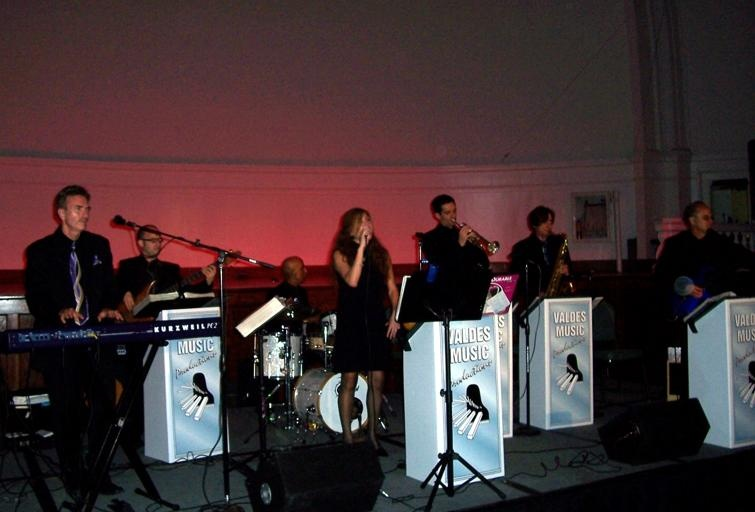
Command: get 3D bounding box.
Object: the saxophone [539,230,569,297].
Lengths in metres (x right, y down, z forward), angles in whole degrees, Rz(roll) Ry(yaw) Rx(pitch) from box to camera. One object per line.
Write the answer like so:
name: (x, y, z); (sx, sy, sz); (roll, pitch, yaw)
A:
saxophone: (2.206, 0.121, 8.556); (0.338, 0.739, 0.367); (-2, 5, -15)

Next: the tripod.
tripod: (0.752, 1.406, 6.446); (0.742, 1.767, 0.544); (-1, 5, -5)

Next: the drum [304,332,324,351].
drum: (-0.711, 0.980, 7.916); (0.175, 0.171, 0.180); (2, -3, -15)

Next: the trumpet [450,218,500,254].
trumpet: (1.236, -0.262, 8.951); (0.758, 0.286, 0.265); (30, -11, 18)

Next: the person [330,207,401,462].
person: (-0.115, 0.818, 7.061); (0.674, 2.585, 0.565); (-1, 5, -3)

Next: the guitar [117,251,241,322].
guitar: (-2.311, 0.291, 7.596); (0.227, 0.816, 1.533); (-1, 10, 41)

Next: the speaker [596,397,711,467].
speaker: (2.720, 1.618, 6.984); (0.822, 0.564, 0.680); (1, 1, -26)

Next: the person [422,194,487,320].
person: (0.800, -0.030, 7.040); (0.698, 1.161, 1.690); (-1, 5, 4)

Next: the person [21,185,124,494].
person: (-2.814, 0.810, 6.516); (0.802, 2.925, 0.796); (-4, 6, -27)

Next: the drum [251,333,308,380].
drum: (-1.115, 1.106, 7.736); (0.490, 0.565, 0.505); (0, -8, -5)
